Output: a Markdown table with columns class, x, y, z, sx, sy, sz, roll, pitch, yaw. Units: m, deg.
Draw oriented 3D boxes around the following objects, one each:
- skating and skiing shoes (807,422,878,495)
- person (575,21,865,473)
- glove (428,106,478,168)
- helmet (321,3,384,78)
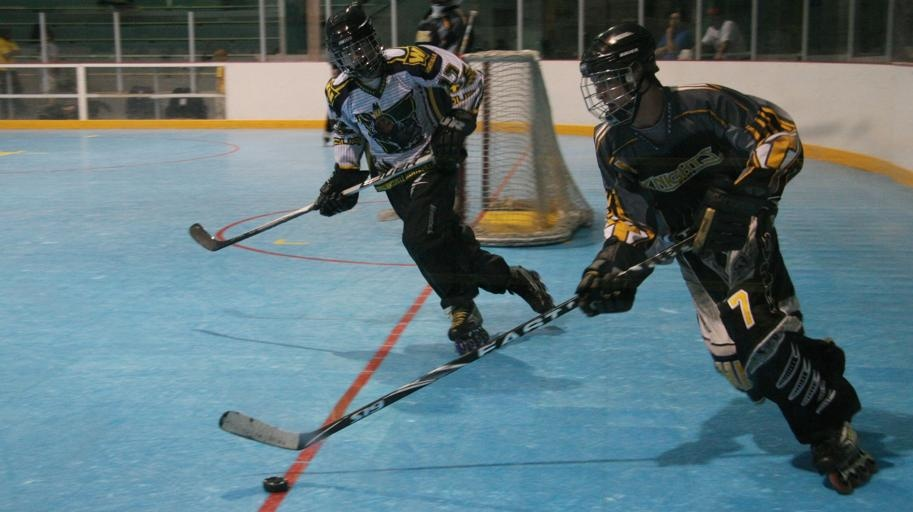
| class | x | y | z | sx | sy | sz | roll | pitch | yaw |
| --- | --- | --- | --- | --- | --- | --- | --- | --- | --- |
| skating and skiing shoes | 1.879 | 0.992 | 3.883 | 0.235 | 0.324 | 0.219 | 8 | 19 | 39 |
| person | 1.304 | -0.046 | 3.933 | 1.379 | 2.264 | 0.646 | 0 | 17 | 15 |
| glove | -0.029 | -0.737 | 4.947 | 0.257 | 0.371 | 0.317 | 0 | 13 | 13 |
| helmet | -0.630 | -1.330 | 4.838 | 0.338 | 0.461 | 0.261 | -4 | 15 | -2 |
